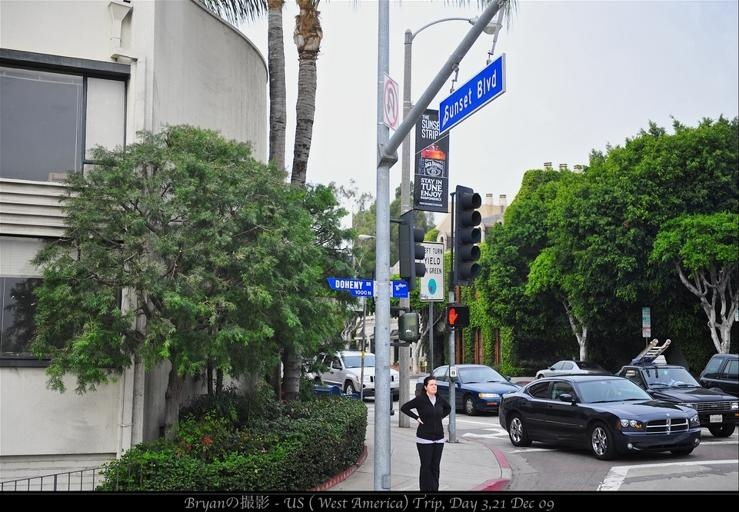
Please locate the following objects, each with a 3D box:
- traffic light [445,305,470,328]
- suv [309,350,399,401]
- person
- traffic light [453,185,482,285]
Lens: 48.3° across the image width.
[{"bbox_3d":[2.325,1.553,21.591,0.556,0.633,0.463,-1,-6,5],"label":"traffic light"},{"bbox_3d":[-0.408,4.869,34.035,2.161,2.107,4.632,5,-9,-35],"label":"suv"},{"bbox_3d":[1.208,3.645,16.883,0.885,2.328,1.272,0,-6,2],"label":"person"},{"bbox_3d":[2.308,-0.409,19.270,0.491,2.057,1.247,0,-6,-6],"label":"traffic light"}]
